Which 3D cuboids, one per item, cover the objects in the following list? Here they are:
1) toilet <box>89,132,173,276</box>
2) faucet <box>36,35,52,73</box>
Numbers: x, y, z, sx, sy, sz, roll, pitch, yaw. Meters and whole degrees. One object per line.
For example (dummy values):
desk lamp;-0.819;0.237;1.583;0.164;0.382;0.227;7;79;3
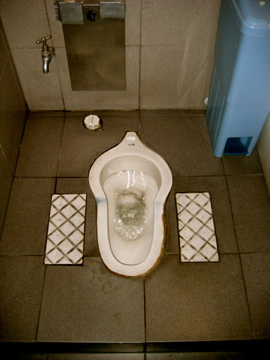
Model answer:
toilet;-0.027;0.148;1.879;0.491;0.247;0.911;1;59;-3
faucet;-0.544;-0.769;1.818;0.071;0.153;0.233;-5;51;-5
